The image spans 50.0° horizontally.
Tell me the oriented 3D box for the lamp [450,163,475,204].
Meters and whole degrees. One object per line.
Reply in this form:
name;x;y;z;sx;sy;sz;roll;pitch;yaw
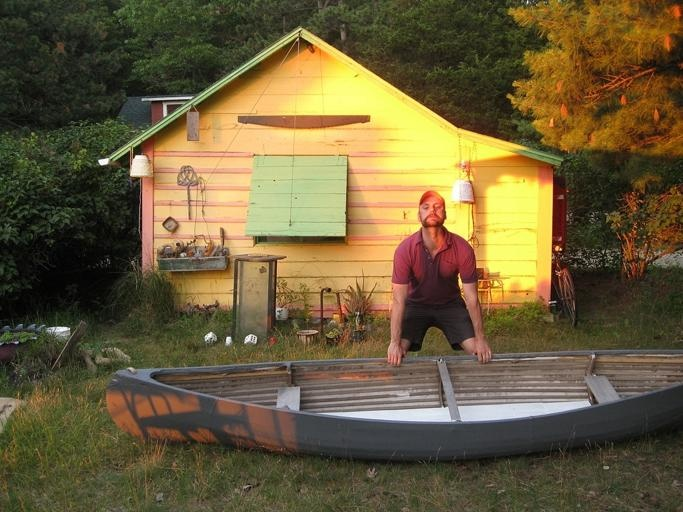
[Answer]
lamp;2.428;-1.472;14.748;0.490;0.890;0.396;-8;-14;42

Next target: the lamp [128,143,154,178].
lamp;-4.093;-1.886;15.035;0.432;0.531;0.468;0;1;-5

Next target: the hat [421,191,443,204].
hat;1.177;-0.764;9.545;0.279;0.172;0.500;3;12;8

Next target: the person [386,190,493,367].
person;1.275;0.286;9.549;1.298;2.221;0.921;1;11;3

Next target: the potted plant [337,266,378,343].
potted plant;0.240;0.990;14.396;0.879;1.775;1.042;-1;-3;25
